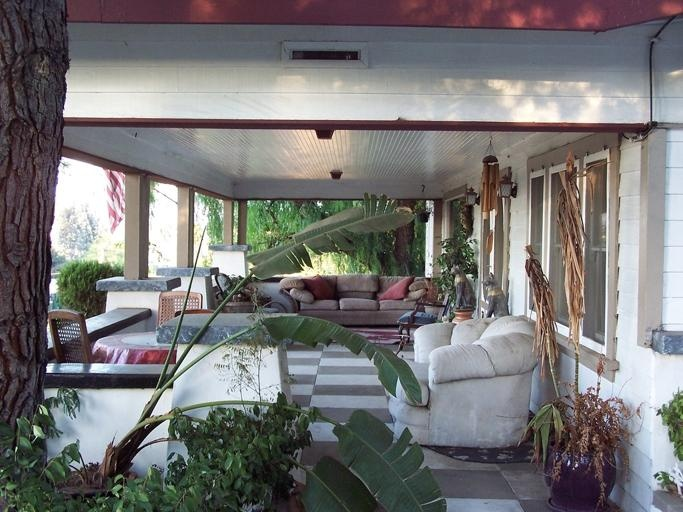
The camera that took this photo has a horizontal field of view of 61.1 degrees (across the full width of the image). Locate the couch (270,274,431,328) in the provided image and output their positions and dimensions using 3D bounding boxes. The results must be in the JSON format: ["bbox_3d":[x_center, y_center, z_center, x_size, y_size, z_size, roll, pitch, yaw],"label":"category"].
[{"bbox_3d":[0.297,0.855,10.263,2.565,1.221,1.072,0,-7,-3],"label":"couch"}]

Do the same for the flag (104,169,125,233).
[{"bbox_3d":[-4.083,-1.031,10.435,0.293,1.173,2.118,-1,1,-22],"label":"flag"}]

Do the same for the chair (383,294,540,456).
[{"bbox_3d":[1.014,0.940,4.810,0.916,0.854,1.094,0,-4,4],"label":"chair"}]

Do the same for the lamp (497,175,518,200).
[{"bbox_3d":[1.783,-0.726,6.181,0.205,0.366,0.241,-1,3,-10],"label":"lamp"}]

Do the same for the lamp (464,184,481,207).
[{"bbox_3d":[1.705,-0.802,7.607,0.251,0.345,0.218,1,1,-10],"label":"lamp"}]

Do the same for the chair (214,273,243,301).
[{"bbox_3d":[-1.338,0.364,6.777,0.306,0.171,0.255,23,-21,-32],"label":"chair"}]
